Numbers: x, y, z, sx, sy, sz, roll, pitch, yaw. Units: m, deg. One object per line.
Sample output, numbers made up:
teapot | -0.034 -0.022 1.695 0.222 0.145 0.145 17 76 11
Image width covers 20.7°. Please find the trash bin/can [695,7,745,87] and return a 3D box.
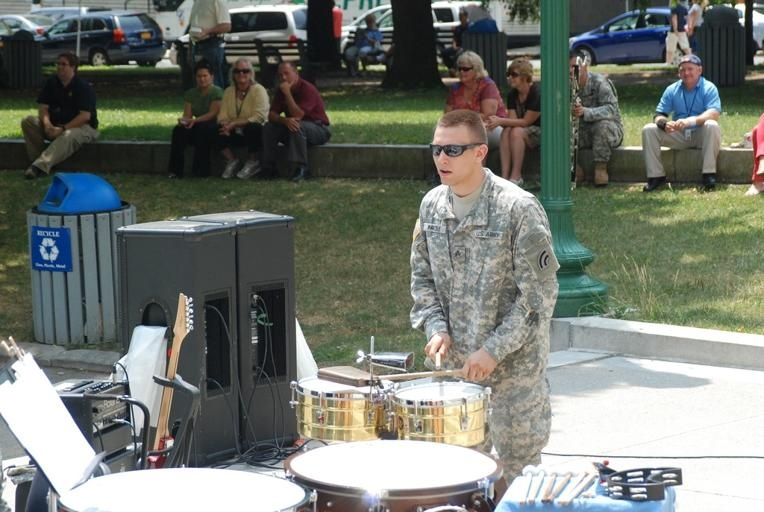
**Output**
trash bin/can | 6.533 -3.952 40.386 0.652 1.912 0.826 1 1 8

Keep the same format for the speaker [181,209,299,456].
speaker | -1.780 0.940 27.913 1.101 3.292 1.383 3 -2 15

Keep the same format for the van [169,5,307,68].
van | -2.926 -4.774 47.615 2.994 1.467 1.634 6 11 22

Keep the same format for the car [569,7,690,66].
car | 5.825 -5.128 49.283 3.762 1.830 2.126 3 7 16

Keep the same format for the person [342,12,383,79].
person | -0.451 -4.930 49.086 0.748 1.437 0.877 3 2 20

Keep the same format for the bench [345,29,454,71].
bench | 0.357 -4.839 49.073 2.137 0.986 1.210 2 7 -1

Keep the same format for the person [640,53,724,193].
person | 4.696 -2.080 33.096 1.200 2.105 0.458 -1 5 14

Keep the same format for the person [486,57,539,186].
person | 2.125 -2.197 33.740 0.586 2.171 0.795 3 -2 16

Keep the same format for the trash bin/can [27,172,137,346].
trash bin/can | -4.393 0.110 30.185 1.262 2.823 1.356 5 2 36
